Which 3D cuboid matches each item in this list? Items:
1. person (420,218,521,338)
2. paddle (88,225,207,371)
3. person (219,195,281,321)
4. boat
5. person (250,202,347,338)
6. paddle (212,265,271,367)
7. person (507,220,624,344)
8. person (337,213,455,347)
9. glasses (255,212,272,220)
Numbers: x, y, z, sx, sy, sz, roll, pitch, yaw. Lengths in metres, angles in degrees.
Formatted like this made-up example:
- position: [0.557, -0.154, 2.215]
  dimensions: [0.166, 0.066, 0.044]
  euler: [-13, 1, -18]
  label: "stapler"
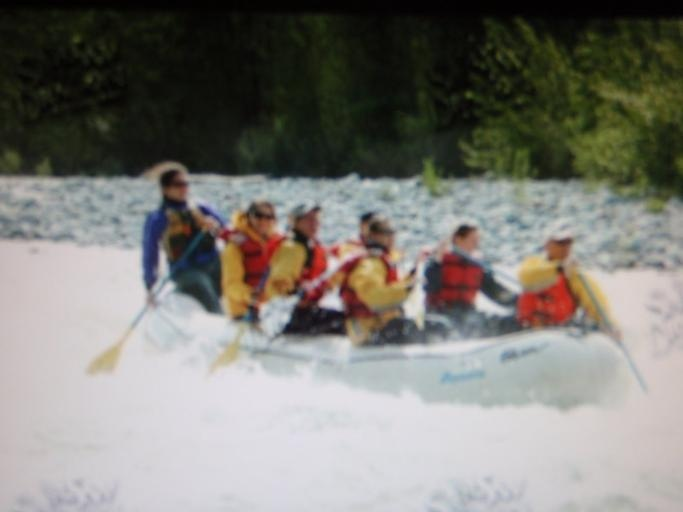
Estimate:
- position: [0.903, 0.175, 8.243]
  dimensions: [0.500, 0.871, 0.605]
  euler: [-15, 22, -40]
  label: "person"
- position: [-1.433, 0.341, 8.160]
  dimensions: [0.178, 1.296, 0.060]
  euler: [40, -4, -8]
  label: "paddle"
- position: [-0.671, 0.017, 8.215]
  dimensions: [0.604, 0.773, 0.256]
  euler: [1, 8, 4]
  label: "person"
- position: [0.482, 0.721, 8.279]
  dimensions: [2.702, 0.736, 1.344]
  euler: [2, -1, 10]
  label: "boat"
- position: [-0.268, 0.088, 8.039]
  dimensions: [0.622, 0.927, 0.353]
  euler: [2, 8, 0]
  label: "person"
- position: [-0.736, 0.471, 8.180]
  dimensions: [0.109, 0.704, 0.486]
  euler: [16, 22, 41]
  label: "paddle"
- position: [1.768, 0.308, 8.467]
  dimensions: [0.692, 1.003, 0.880]
  euler: [-2, -25, -3]
  label: "person"
- position: [0.294, 0.186, 8.511]
  dimensions: [0.923, 1.186, 0.632]
  euler: [-6, -9, 5]
  label: "person"
- position: [-0.554, -0.286, 8.216]
  dimensions: [0.140, 0.051, 0.015]
  euler: [1, 17, -3]
  label: "glasses"
